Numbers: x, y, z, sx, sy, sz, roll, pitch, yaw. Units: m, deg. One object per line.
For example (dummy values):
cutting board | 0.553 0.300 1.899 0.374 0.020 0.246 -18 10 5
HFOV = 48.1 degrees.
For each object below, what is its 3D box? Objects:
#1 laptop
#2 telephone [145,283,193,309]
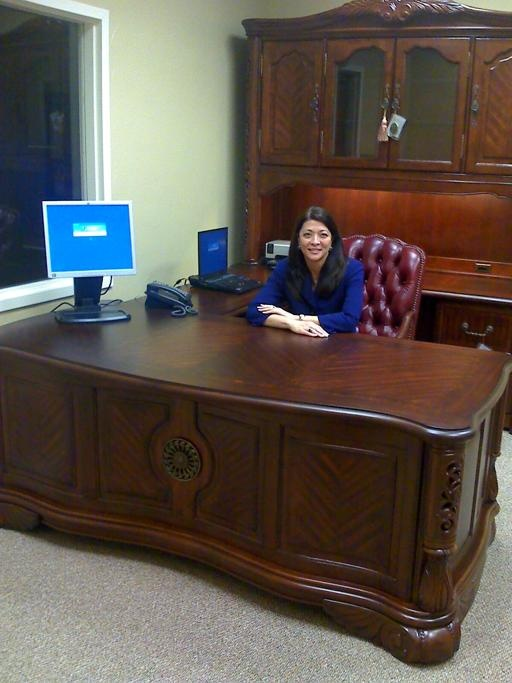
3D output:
laptop | -0.194 -0.431 3.057 0.388 0.278 0.344 10 21 24
telephone | -0.386 -0.205 2.522 0.195 0.067 0.105 16 20 22
